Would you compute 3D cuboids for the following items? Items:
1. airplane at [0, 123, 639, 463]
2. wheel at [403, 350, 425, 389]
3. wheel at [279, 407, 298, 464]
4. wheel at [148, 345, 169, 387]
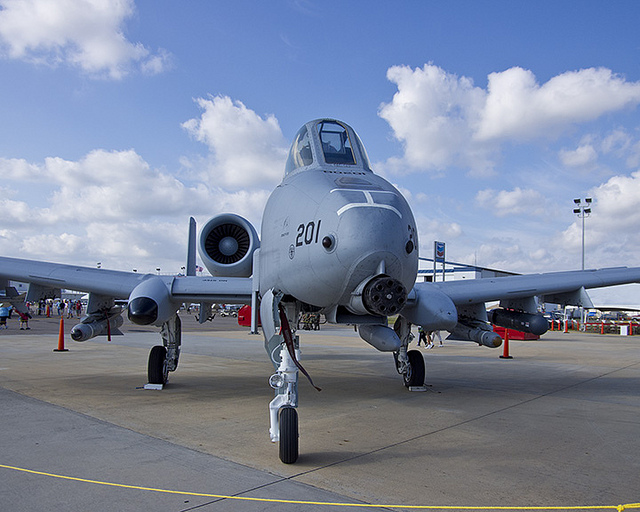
[{"bbox_3d":[-0.779,0.390,9.195,8.864,4.193,7.806,1,-9,-10],"label":"airplane"},{"bbox_3d":[2.204,2.666,10.213,0.364,0.974,0.991,3,-7,-10],"label":"wheel"},{"bbox_3d":[-0.377,2.185,5.307,0.225,0.662,0.143,2,-7,-6],"label":"wheel"},{"bbox_3d":[-3.573,2.499,9.823,0.385,0.895,0.277,4,-7,-20],"label":"wheel"}]
